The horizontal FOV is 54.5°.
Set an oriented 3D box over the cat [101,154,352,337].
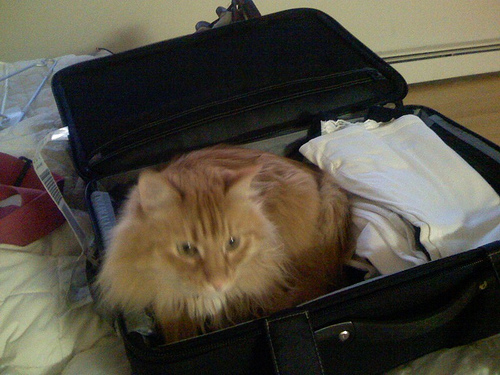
[{"bbox_3d":[-0.074,0.032,0.992,0.382,0.195,0.548,-21,30,-3],"label":"cat"}]
